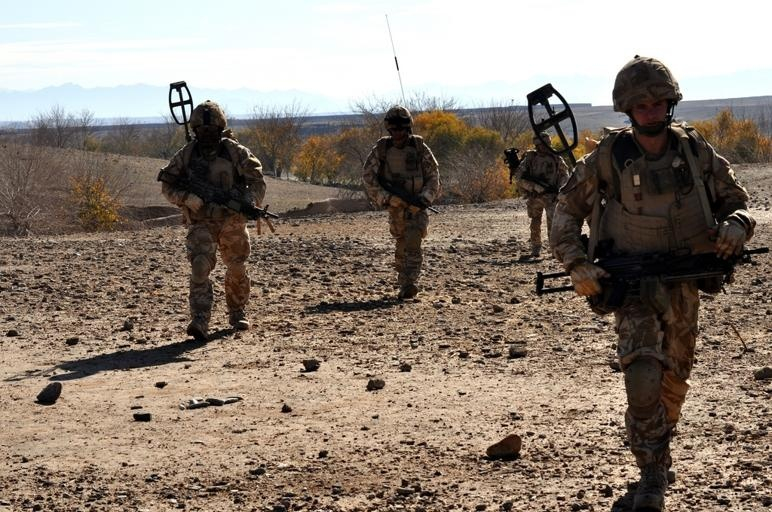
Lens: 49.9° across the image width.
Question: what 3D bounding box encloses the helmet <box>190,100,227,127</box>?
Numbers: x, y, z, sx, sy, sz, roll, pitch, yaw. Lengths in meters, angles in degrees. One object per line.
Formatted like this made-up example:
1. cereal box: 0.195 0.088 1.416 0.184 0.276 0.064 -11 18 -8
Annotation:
1. helmet: -2.122 -1.688 9.917 0.423 0.339 0.274 -5 12 -16

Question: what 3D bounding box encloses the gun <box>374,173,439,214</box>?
1. gun: 0.263 -0.908 11.959 0.734 0.482 0.308 -3 12 -6

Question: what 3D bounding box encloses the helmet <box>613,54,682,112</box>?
1. helmet: 1.902 -1.257 6.066 0.466 0.412 0.227 3 13 22

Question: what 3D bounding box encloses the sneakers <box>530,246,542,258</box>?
1. sneakers: 2.731 -0.076 15.196 0.244 0.314 0.188 1 -31 10

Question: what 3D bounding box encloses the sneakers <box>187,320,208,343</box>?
1. sneakers: -2.243 0.874 9.873 0.236 0.270 0.265 -5 12 -14

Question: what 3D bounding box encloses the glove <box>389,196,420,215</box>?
1. glove: 0.274 -0.743 11.920 0.487 0.194 0.078 21 7 -16

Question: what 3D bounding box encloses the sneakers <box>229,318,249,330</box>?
1. sneakers: -1.818 0.852 10.350 0.115 0.106 0.234 0 -6 -34

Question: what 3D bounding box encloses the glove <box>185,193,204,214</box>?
1. glove: -2.278 -0.619 9.843 0.210 0.228 0.150 0 12 9

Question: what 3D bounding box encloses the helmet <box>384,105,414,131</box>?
1. helmet: 0.185 -1.978 11.718 0.326 0.352 0.368 -1 -6 0

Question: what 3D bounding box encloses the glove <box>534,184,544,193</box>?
1. glove: 2.794 -1.249 15.295 0.219 0.137 0.071 9 16 42

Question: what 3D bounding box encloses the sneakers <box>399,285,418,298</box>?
1. sneakers: 0.321 0.501 11.823 0.294 0.198 0.211 -4 12 -12
